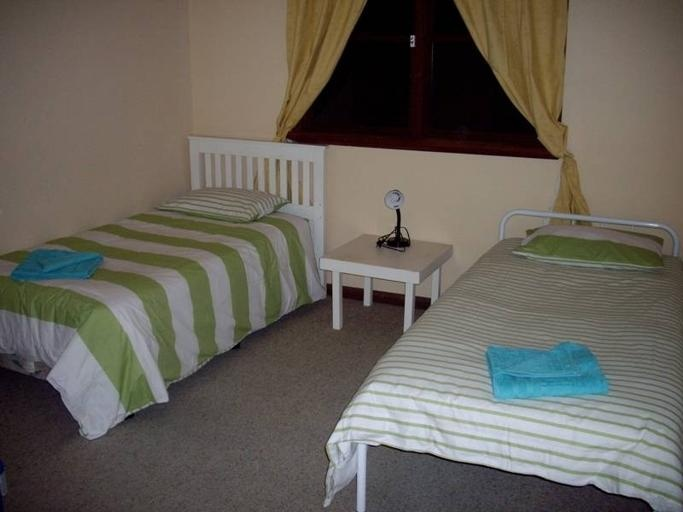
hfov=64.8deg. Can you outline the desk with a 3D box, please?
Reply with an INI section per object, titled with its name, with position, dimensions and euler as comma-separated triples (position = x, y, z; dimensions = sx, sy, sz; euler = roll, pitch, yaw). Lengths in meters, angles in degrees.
[desk]
position = 0.350, 0.038, 4.061
dimensions = 0.718, 0.607, 0.764
euler = 8, 19, 26
